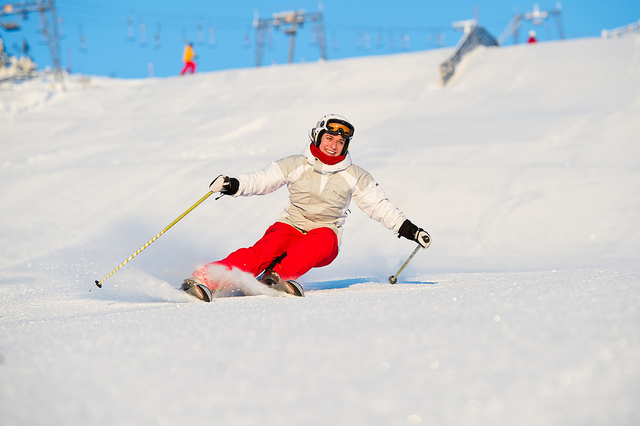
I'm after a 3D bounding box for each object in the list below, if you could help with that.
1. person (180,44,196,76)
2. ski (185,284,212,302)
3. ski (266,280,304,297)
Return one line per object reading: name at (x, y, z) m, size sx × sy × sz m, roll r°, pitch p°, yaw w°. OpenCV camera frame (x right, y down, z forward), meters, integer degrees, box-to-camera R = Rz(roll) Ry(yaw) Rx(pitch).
person at (-3.435, -3.925, 17.523) m, size 0.344 × 0.813 × 1.088 m, roll -5°, pitch 9°, yaw -11°
ski at (-1.314, 0.861, 7.412) m, size 0.233 × 0.080 × 0.145 m, roll 14°, pitch 5°, yaw 43°
ski at (-0.384, 0.827, 7.718) m, size 0.480 × 0.156 × 0.211 m, roll 5°, pitch 15°, yaw 29°
